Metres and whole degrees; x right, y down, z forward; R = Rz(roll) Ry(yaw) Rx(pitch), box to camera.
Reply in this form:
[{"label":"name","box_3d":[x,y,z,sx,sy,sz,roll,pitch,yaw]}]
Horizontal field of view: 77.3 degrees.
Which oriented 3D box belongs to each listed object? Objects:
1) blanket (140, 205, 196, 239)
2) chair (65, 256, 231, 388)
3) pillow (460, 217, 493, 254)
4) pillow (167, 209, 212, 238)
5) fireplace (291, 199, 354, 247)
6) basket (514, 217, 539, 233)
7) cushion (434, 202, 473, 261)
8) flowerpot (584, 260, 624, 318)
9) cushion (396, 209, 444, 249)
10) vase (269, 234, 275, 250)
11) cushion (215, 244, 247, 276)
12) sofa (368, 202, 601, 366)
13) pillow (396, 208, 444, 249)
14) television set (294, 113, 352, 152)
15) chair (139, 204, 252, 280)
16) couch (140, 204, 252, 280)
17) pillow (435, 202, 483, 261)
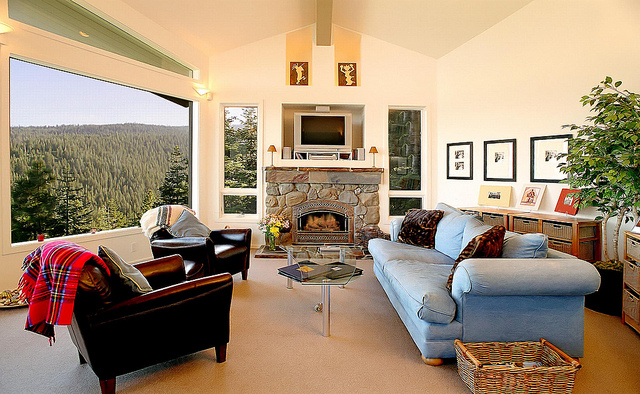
[{"label":"blanket","box_3d":[-2.303,0.362,6.048,0.537,0.250,0.525,-25,2,23]},{"label":"chair","box_3d":[-1.824,1.248,4.494,1.514,1.291,1.248,-7,10,-44]},{"label":"pillow","box_3d":[1.891,0.485,4.910,0.219,0.511,0.448,14,0,-14]},{"label":"pillow","box_3d":[-2.075,0.337,6.101,0.170,0.535,0.596,-22,-15,24]},{"label":"fireplace","box_3d":[-0.113,0.571,8.449,1.498,0.952,0.840,3,-6,-27]},{"label":"basket","box_3d":[3.162,0.436,6.162,0.198,0.188,0.328,1,-2,-28]},{"label":"cushion","box_3d":[1.980,0.526,5.872,0.408,0.688,1.098,-5,11,10]},{"label":"flowerpot","box_3d":[3.780,1.269,5.597,0.594,0.660,0.773,0,-2,35]},{"label":"cushion","box_3d":[1.561,0.436,6.061,0.748,0.657,0.228,6,-20,46]},{"label":"vase","box_3d":[-0.941,0.860,7.751,0.102,0.302,0.230,0,5,-10]},{"label":"cushion","box_3d":[-1.409,0.955,6.080,0.276,0.406,0.592,5,7,40]},{"label":"sofa","box_3d":[1.915,1.004,6.016,2.072,1.322,3.764,-1,4,2]},{"label":"pillow","box_3d":[1.498,0.455,5.956,0.191,0.553,0.620,22,-12,-38]},{"label":"television set","box_3d":[0.211,-1.347,8.441,1.344,1.025,0.754,7,12,30]},{"label":"chair","box_3d":[-1.878,0.730,6.115,1.435,1.025,1.297,4,7,9]},{"label":"couch","box_3d":[-1.903,0.735,6.173,1.402,1.042,1.197,6,7,16]},{"label":"pillow","box_3d":[1.964,0.578,5.848,0.420,0.710,1.132,-4,3,4]}]
